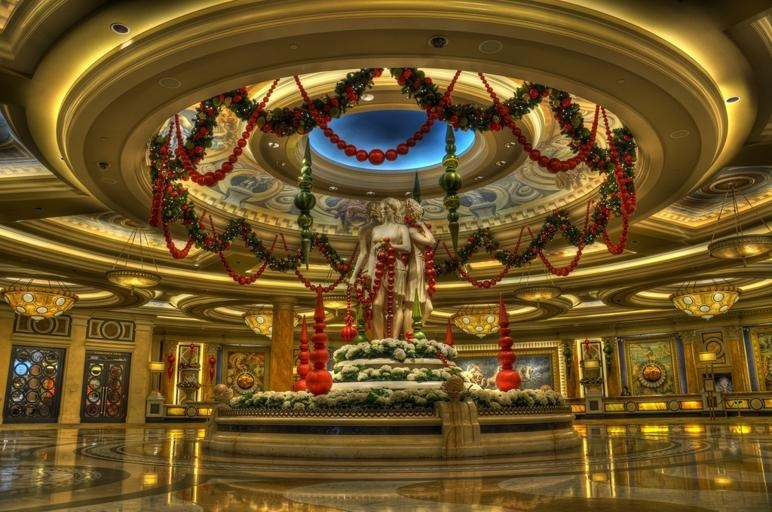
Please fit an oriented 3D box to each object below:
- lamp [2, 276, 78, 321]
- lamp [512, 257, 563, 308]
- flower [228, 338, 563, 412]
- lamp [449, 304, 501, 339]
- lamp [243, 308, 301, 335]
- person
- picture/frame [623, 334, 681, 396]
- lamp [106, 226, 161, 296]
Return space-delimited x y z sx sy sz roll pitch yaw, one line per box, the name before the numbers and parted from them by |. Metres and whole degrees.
lamp | -10.478 1.159 16.289 1.632 1.547 3.943 9 -17 -34
lamp | 4.430 0.744 16.268 1.690 1.559 1.541 6 -12 -20
flower | 0.047 1.549 7.215 4.069 1.043 1.509 -3 -15 9
lamp | 2.859 2.060 18.243 1.904 0.889 1.797 5 -11 -34
lamp | -3.901 2.140 18.372 1.733 0.721 1.547 -1 -20 3
person | 0.148 0.149 8.490 1.174 2.214 0.544 -1 -17 -2
picture/frame | 11.475 4.721 23.424 2.818 2.851 0.358 -8 -27 33
lamp | -6.584 0.032 14.116 1.081 1.854 0.943 8 -41 -14
